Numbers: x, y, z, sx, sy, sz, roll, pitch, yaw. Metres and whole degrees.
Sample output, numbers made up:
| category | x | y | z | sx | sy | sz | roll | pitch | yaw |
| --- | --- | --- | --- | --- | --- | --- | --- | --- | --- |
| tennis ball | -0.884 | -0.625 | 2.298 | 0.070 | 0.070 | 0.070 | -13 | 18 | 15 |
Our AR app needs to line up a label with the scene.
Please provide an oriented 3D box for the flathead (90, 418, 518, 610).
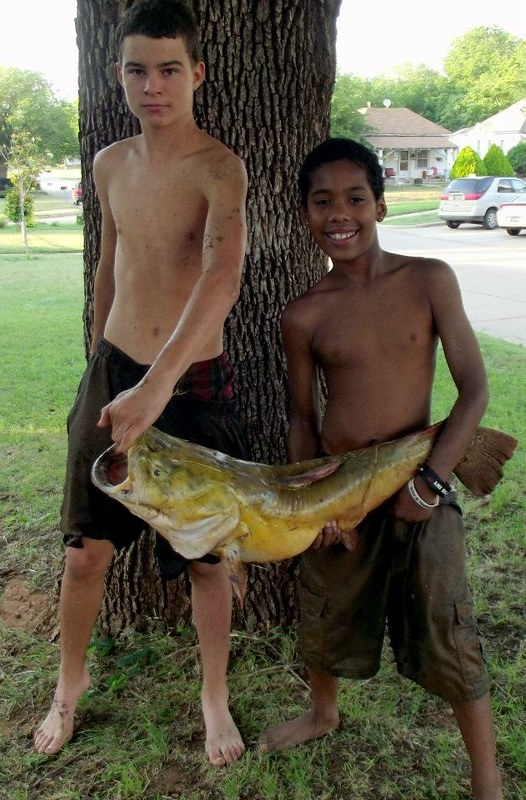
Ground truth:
| category | x | y | z | sx | sy | sz | roll | pitch | yaw |
| --- | --- | --- | --- | --- | --- | --- | --- | --- | --- |
| flathead | 0.126 | 0.246 | 1.792 | 1.007 | 0.311 | 0.253 | -6 | 24 | -4 |

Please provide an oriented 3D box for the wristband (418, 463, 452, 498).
| category | x | y | z | sx | sy | sz | roll | pitch | yaw |
| --- | --- | --- | --- | --- | --- | --- | --- | --- | --- |
| wristband | 0.443 | 0.217 | 1.800 | 0.084 | 0.023 | 0.087 | 38 | 5 | -3 |

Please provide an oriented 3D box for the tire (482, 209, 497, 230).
| category | x | y | z | sx | sy | sz | roll | pitch | yaw |
| --- | --- | --- | --- | --- | --- | --- | --- | --- | --- |
| tire | 6.958 | -5.557 | 21.760 | 0.552 | 0.472 | 0.169 | -12 | 28 | -25 |

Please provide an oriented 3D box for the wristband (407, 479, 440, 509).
| category | x | y | z | sx | sy | sz | roll | pitch | yaw |
| --- | --- | --- | --- | --- | --- | --- | --- | --- | --- |
| wristband | 0.418 | 0.233 | 1.810 | 0.030 | 0.078 | 0.077 | -42 | 15 | 9 |
